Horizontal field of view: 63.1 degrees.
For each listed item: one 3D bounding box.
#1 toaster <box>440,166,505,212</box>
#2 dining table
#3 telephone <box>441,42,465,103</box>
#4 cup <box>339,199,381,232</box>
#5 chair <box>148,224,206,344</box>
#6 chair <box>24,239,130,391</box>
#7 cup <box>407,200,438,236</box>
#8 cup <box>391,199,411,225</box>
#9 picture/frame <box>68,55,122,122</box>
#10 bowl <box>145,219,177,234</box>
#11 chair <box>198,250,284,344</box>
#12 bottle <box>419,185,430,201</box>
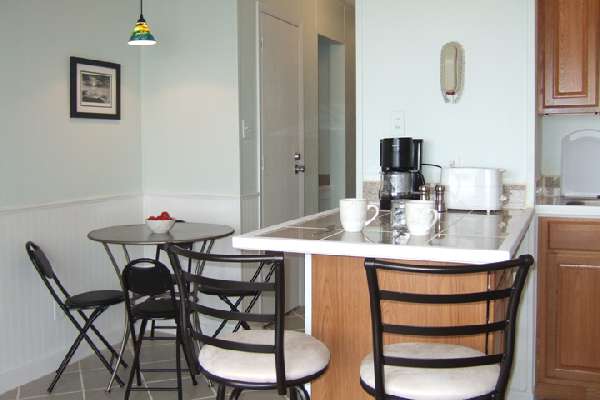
[{"bbox_3d":[1.213,-0.074,3.452,0.411,0.298,0.226,2,5,38],"label":"toaster"},{"bbox_3d":[-0.966,0.805,3.940,1.077,1.091,1.103,-10,9,-27],"label":"dining table"},{"bbox_3d":[1.132,-0.937,3.625,0.207,0.401,0.104,1,6,23],"label":"telephone"},{"bbox_3d":[0.335,0.093,2.720,0.221,0.166,0.141,-2,-5,8],"label":"cup"},{"bbox_3d":[-1.227,0.597,4.551,0.568,1.407,0.635,-5,18,-20],"label":"chair"},{"bbox_3d":[-1.774,0.861,3.932,0.647,1.145,0.787,-6,7,-29],"label":"chair"},{"bbox_3d":[0.658,0.099,2.563,0.139,0.169,0.201,-3,8,-20],"label":"cup"},{"bbox_3d":[0.596,0.087,2.885,0.142,0.157,0.147,-1,-7,0],"label":"cup"},{"bbox_3d":[-1.805,-0.979,4.265,0.041,0.617,0.631,4,6,34],"label":"picture/frame"},{"bbox_3d":[-1.094,0.208,3.859,0.210,0.107,0.120,-4,6,-14],"label":"bowl"},{"bbox_3d":[-0.510,0.790,3.977,0.691,0.964,0.584,-2,-12,-9],"label":"chair"},{"bbox_3d":[0.798,-0.042,3.133,0.056,0.092,0.159,-1,6,12],"label":"bottle"}]
